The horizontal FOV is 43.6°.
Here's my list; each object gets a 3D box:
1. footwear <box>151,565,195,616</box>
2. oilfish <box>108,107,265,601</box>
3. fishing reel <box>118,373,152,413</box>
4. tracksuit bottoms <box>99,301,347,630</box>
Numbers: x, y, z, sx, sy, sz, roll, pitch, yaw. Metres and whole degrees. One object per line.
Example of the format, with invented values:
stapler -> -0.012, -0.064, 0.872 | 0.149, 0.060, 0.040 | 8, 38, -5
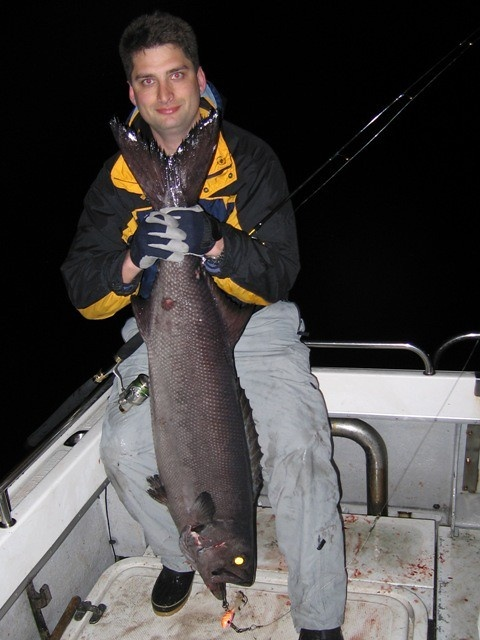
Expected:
footwear -> -0.241, 0.932, 2.054 | 0.077, 0.076, 0.201 | 13, 12, 1
oilfish -> -0.135, 0.191, 1.848 | 0.494, 1.511, 0.356 | -1, 8, 0
fishing reel -> -0.360, 0.256, 2.053 | 0.148, 0.077, 0.099 | -47, -14, 29
tracksuit bottoms -> 0.080, 0.554, 2.191 | 0.788, 0.994, 0.333 | -5, -27, 0
